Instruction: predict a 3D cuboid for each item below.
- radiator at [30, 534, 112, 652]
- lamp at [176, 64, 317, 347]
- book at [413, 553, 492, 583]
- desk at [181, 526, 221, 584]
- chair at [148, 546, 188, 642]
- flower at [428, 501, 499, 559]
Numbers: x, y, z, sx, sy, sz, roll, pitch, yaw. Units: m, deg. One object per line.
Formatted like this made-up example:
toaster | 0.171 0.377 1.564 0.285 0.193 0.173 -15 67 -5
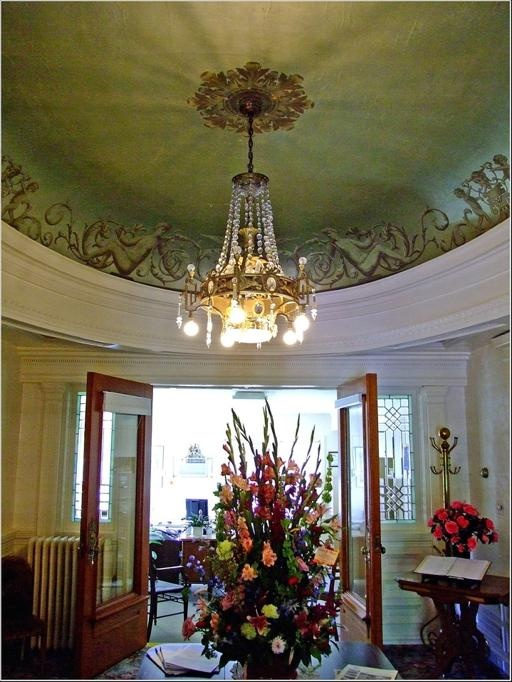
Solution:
radiator | -1.806 2.151 4.851 0.877 1.086 0.333 1 -7 -4
lamp | -0.044 -0.531 3.064 0.800 1.319 1.863 -1 -12 -4
book | 1.409 1.645 3.671 0.502 0.134 0.271 -12 -16 43
desk | -0.774 2.956 6.916 0.485 0.677 0.748 -5 -28 -8
chair | -0.965 2.621 5.566 0.474 0.771 0.418 4 -13 -4
flower | 1.633 1.498 4.033 0.498 0.442 0.401 -8 -14 31
